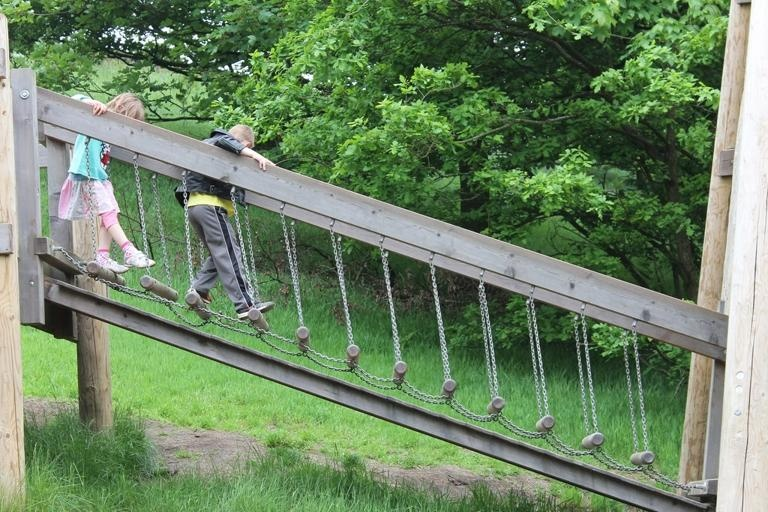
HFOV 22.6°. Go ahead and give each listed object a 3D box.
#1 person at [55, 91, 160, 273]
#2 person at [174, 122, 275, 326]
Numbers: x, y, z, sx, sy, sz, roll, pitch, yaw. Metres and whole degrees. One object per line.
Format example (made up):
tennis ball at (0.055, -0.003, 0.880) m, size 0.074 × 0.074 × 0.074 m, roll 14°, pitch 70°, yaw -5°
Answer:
person at (-3.635, -0.937, 24.860) m, size 1.096 × 2.295 × 0.956 m, roll 3°, pitch 6°, yaw -10°
person at (-2.108, -0.438, 24.893) m, size 1.325 × 2.473 × 0.833 m, roll 7°, pitch 7°, yaw 29°
